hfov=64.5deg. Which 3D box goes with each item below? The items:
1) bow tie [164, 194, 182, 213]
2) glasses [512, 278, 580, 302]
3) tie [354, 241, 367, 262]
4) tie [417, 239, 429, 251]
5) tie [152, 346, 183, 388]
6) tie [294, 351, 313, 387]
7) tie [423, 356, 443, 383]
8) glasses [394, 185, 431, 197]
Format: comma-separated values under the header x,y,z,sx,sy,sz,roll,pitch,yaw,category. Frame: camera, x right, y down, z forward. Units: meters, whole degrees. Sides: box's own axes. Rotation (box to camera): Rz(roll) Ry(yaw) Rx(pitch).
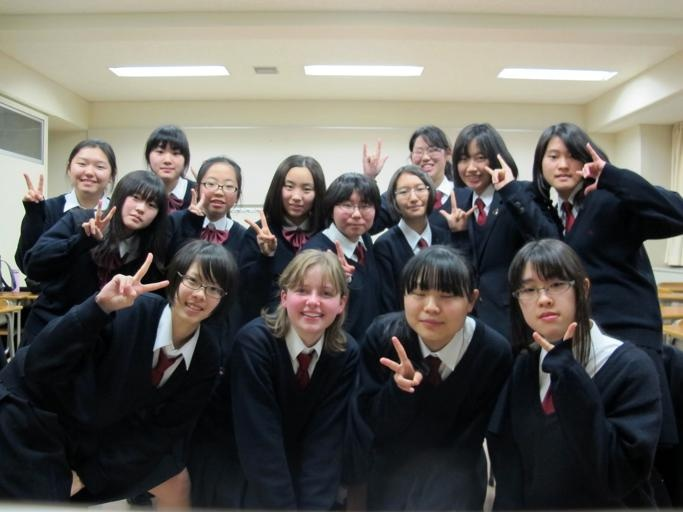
x,y,z,sx,sy,sz,roll,pitch,yaw,category
-1.135,-0.365,3.684,0.116,0.116,0.041,12,-15,-21,bow tie
0.900,0.152,2.404,0.255,0.101,0.055,0,-1,20,glasses
0.112,-0.027,3.155,0.027,0.105,0.078,-8,1,43,tie
0.482,-0.071,3.207,0.051,0.021,0.070,1,42,0,tie
-0.852,0.528,2.640,0.117,0.177,0.052,30,10,-12,tie
-0.178,0.537,2.611,0.082,0.162,0.018,1,-1,-8,tie
0.425,0.522,2.528,0.078,0.130,0.028,1,-1,8,tie
0.425,-0.389,3.206,0.108,0.034,0.109,-9,-11,-1,glasses
